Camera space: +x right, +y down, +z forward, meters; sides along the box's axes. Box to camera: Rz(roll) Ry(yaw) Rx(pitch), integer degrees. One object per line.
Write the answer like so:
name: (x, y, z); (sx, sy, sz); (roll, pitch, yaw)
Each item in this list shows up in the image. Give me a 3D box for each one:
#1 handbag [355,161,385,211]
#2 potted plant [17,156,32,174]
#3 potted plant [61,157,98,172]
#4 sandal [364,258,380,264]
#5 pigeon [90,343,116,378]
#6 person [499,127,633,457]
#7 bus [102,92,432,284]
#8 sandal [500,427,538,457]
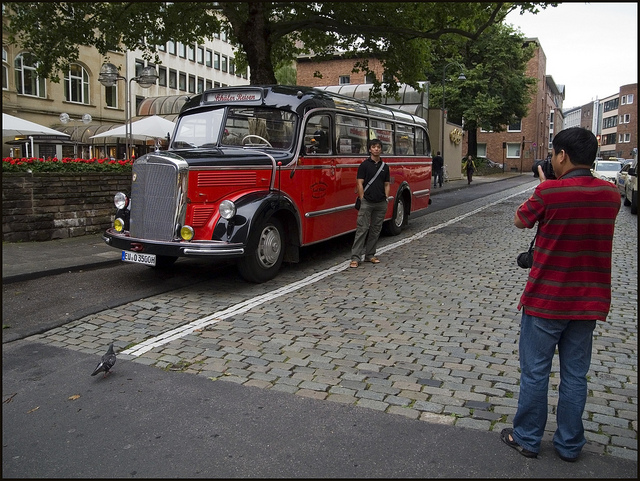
handbag: (1.040, -1.192, 8.623); (0.705, 0.915, 0.278); (21, 19, 22)
potted plant: (-7.610, -1.946, 10.367); (0.306, 0.404, 0.871); (-7, 9, -35)
potted plant: (-6.836, -2.182, 11.503); (0.760, 0.422, 1.134); (-4, 7, -14)
sandal: (1.122, 0.424, 8.915); (0.292, 0.108, 0.119); (0, -15, 8)
pigeon: (-2.102, 1.158, 3.889); (0.127, 0.274, 0.408); (12, -1, -3)
person: (1.698, 0.348, 2.811); (0.684, 2.223, 0.354); (-3, 7, -3)
bus: (-0.046, -1.661, 10.680); (2.741, 3.873, 10.349); (3, 9, 34)
sandal: (1.434, 1.436, 2.921); (0.086, 0.088, 0.215); (-13, 24, -26)
